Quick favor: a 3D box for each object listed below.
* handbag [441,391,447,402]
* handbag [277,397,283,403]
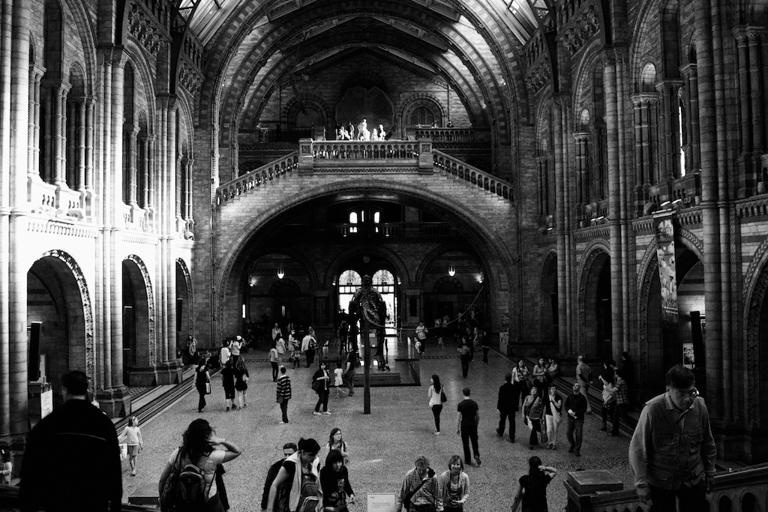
[{"bbox_3d":[1.753,4.091,25.350,0.107,0.267,0.401,-3,-6,14],"label":"handbag"},{"bbox_3d":[-3.175,4.422,26.641,0.152,0.155,0.188,0,-5,1],"label":"handbag"}]
